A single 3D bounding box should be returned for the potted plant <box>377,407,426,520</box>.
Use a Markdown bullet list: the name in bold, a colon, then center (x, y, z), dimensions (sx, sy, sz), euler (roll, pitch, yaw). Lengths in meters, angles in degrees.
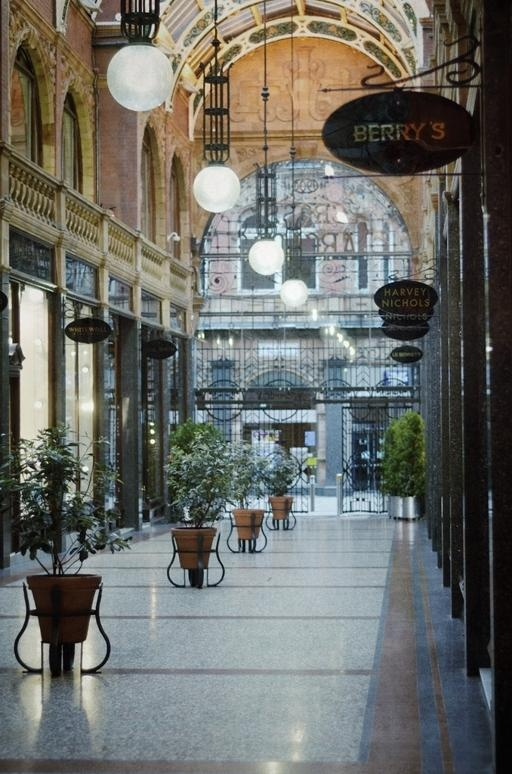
- **potted plant**: center (3.232, 1.753, 23.290), dimensions (0.806, 2.332, 1.168), euler (-2, -2, -8)
